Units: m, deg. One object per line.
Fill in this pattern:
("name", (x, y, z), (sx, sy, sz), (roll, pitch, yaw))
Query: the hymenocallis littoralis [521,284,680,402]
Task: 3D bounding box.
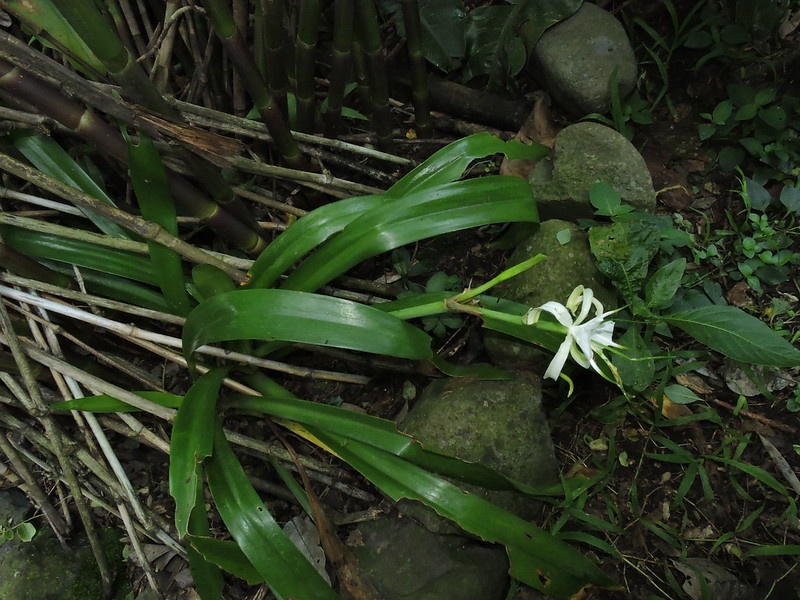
("hymenocallis littoralis", (0.416, 0.092, 1.432), (0.306, 0.205, 0.194), (35, 56, 0))
